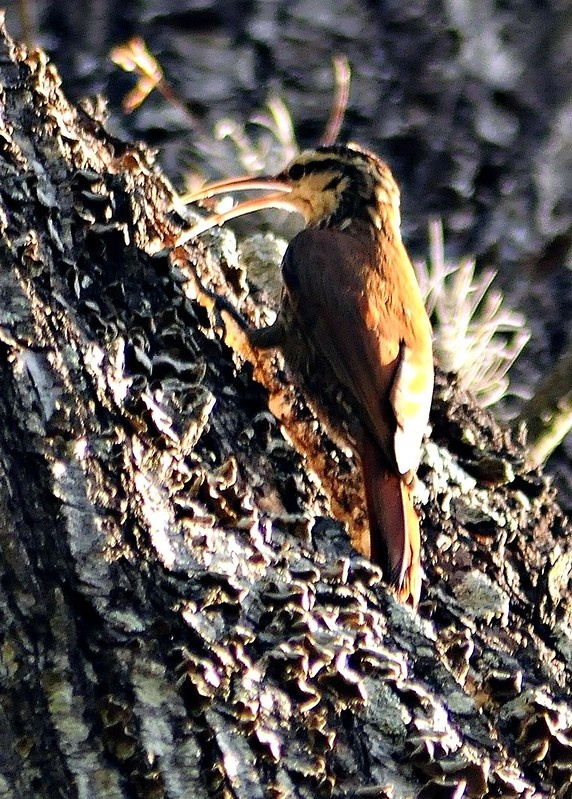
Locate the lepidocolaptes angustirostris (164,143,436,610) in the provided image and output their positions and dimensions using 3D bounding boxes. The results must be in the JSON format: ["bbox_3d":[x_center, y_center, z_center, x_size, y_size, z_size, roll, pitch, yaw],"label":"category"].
[{"bbox_3d":[0.031,-0.039,1.879,0.348,0.513,0.122,8,-9,27],"label":"lepidocolaptes angustirostris"}]
